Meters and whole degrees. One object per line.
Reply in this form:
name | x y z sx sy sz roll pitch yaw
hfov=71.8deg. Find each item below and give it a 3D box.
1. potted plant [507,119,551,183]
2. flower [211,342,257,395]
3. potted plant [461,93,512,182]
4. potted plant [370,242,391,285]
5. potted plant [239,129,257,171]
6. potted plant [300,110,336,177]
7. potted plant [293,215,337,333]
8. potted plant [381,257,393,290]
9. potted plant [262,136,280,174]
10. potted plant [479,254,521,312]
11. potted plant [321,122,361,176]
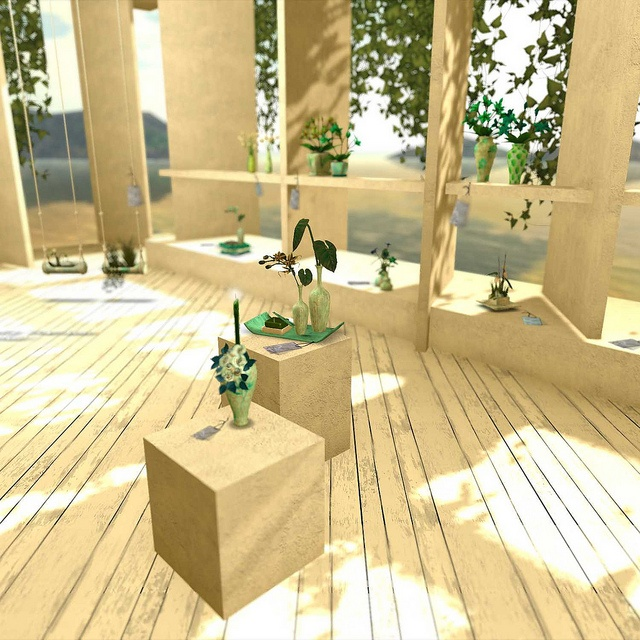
potted plant | 1.700 -1.429 3.757 0.320 0.544 0.312 9 -2 18
flower | -0.331 0.191 1.800 0.176 0.198 0.177 4 15 33
potted plant | 1.462 -1.548 3.788 0.395 0.678 0.306 10 22 27
potted plant | 0.687 -0.616 4.681 0.220 0.375 0.245 -10 -4 -14
potted plant | -0.970 -2.341 6.157 0.227 0.490 0.597 -4 20 -10
potted plant | -0.027 -1.999 5.035 0.367 0.665 0.440 15 23 42
potted plant | 0.001 -0.266 2.517 0.250 0.630 0.307 5 17 23
potted plant | 0.735 -0.537 4.736 0.134 0.302 0.469 2 20 8
potted plant | -0.691 -2.295 6.071 0.167 0.472 0.392 -4 20 -10
potted plant | 1.647 -0.369 3.992 0.332 0.448 0.343 7 18 42
potted plant | 0.248 -1.843 4.923 0.326 0.432 0.329 13 24 43
